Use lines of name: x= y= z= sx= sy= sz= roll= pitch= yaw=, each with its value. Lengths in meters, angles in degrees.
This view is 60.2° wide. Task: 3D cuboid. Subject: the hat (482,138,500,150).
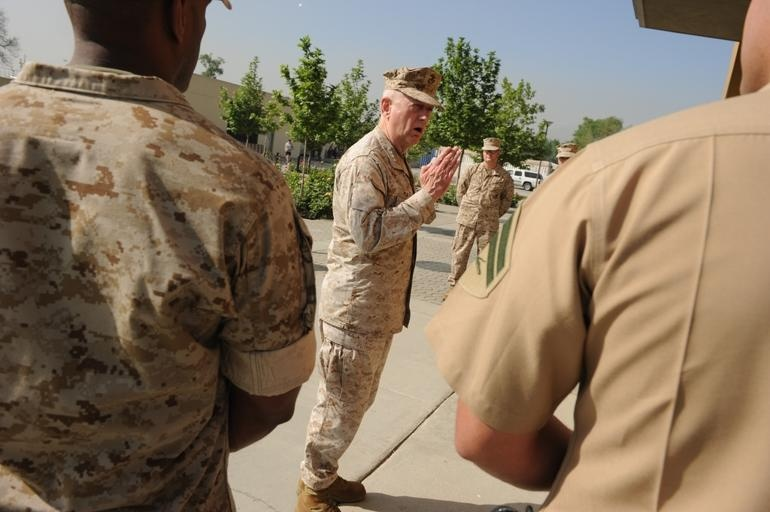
hat: x=1.426 y=-1.521 z=8.863 sx=0.226 sy=0.181 sz=0.317 roll=0 pitch=-1 yaw=22
